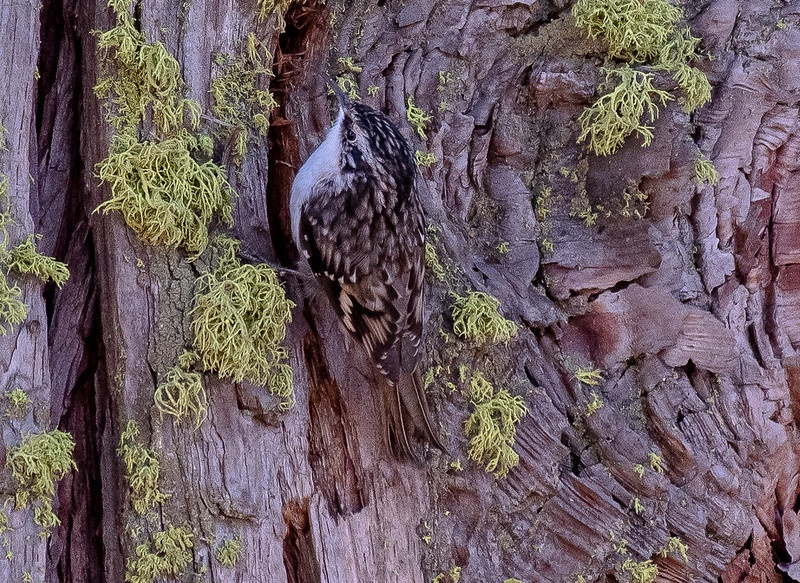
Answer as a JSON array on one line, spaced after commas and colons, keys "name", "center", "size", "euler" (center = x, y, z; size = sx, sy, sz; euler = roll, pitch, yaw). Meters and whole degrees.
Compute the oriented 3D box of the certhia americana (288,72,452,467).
[{"name": "certhia americana", "center": [-0.118, -0.087, 5.823], "size": [0.668, 1.769, 0.612], "euler": [-13, -2, 36]}]
